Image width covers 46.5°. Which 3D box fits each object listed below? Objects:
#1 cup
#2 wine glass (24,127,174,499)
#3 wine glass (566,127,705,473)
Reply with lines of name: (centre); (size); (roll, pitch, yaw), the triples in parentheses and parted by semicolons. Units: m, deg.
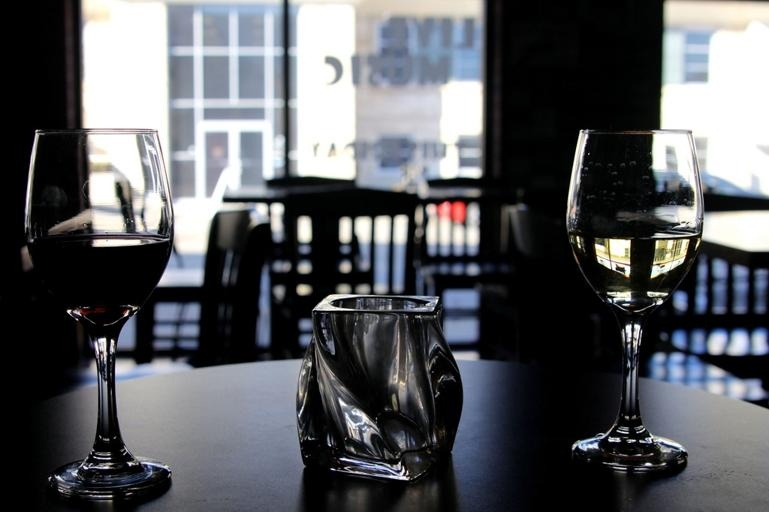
cup: (0.002, 0.133, 1.009); (0.164, 0.172, 0.172); (0, 9, 0)
wine glass: (-0.286, 0.054, 0.912); (0.144, 0.352, 0.151); (-5, 14, -18)
wine glass: (0.263, 0.042, 0.958); (0.141, 0.342, 0.139); (4, 14, 16)
